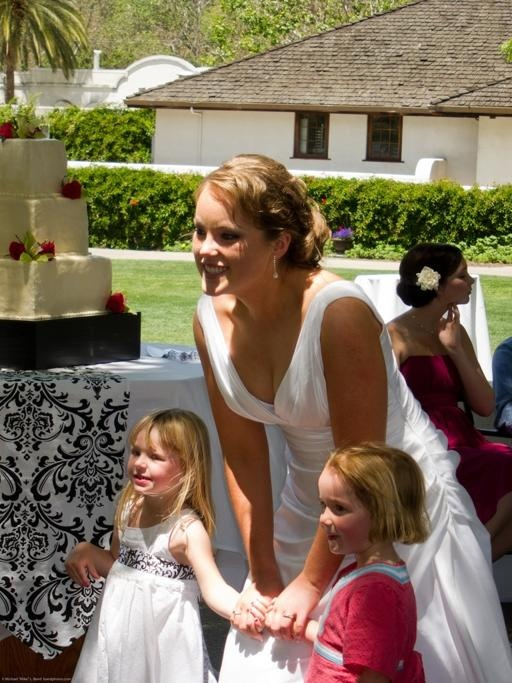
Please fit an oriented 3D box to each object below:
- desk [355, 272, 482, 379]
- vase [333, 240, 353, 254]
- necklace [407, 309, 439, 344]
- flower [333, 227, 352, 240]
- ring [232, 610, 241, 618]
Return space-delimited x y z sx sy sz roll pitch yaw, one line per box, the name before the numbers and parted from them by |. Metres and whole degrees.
desk | 1.478 -0.055 5.739 1.122 0.897 0.972 -3 12 -8
vase | 2.453 -2.638 18.478 0.477 0.303 0.452 -3 1 -44
necklace | 0.837 -0.058 3.284 0.142 0.169 0.156 1 -8 -26
flower | 2.450 -2.928 18.498 0.401 0.272 0.384 -4 5 3
ring | -0.048 0.661 1.600 0.016 0.018 0.021 19 46 -15
